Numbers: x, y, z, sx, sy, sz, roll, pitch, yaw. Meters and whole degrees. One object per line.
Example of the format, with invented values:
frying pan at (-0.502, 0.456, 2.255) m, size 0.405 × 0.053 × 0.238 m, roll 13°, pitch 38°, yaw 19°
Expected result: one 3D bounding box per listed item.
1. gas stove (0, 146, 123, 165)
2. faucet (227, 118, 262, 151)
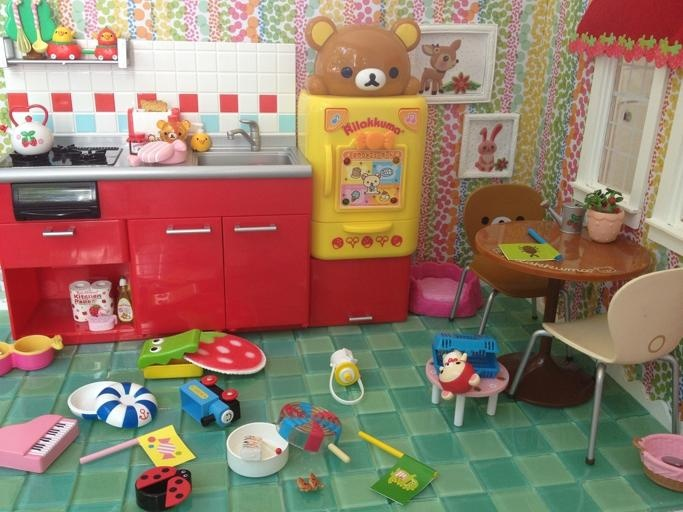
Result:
gas stove at (-1.567, -0.575, 2.903) m, size 0.587 × 0.057 × 0.429 m, roll -4°, pitch 21°, yaw -13°
faucet at (-0.590, -0.744, 3.165) m, size 0.168 × 0.182 × 0.512 m, roll -1°, pitch 20°, yaw -6°
